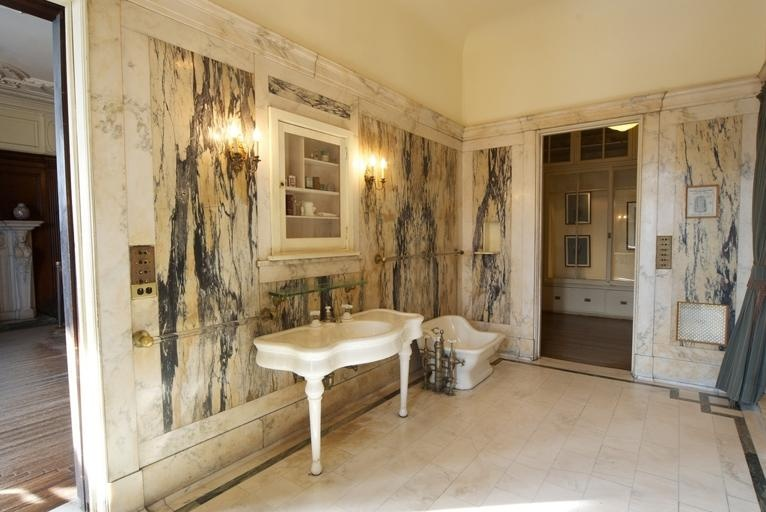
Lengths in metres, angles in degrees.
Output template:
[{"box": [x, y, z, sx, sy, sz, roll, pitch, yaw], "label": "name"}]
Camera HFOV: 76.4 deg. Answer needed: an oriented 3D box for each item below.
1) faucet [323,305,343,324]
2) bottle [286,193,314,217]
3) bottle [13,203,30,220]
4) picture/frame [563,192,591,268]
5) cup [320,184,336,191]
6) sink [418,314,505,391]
[{"box": [-0.534, 0.621, 5.259, 0.150, 0.064, 0.213, 2, 6, 29], "label": "faucet"}, {"box": [-0.816, -0.518, 4.972, 0.158, 0.195, 0.274, -5, -8, 41], "label": "bottle"}, {"box": [-6.216, -0.780, 8.406, 0.264, 0.325, 0.266, 5, 6, -18], "label": "bottle"}, {"box": [3.709, -0.496, 9.205, 0.471, 1.418, 0.102, 1, 4, 23], "label": "picture/frame"}, {"box": [-0.601, -0.741, 5.232, 0.095, 0.066, 0.166, 0, 0, -15], "label": "cup"}, {"box": [1.046, 1.247, 6.245, 0.746, 0.548, 1.080, 10, 10, 30], "label": "sink"}]
